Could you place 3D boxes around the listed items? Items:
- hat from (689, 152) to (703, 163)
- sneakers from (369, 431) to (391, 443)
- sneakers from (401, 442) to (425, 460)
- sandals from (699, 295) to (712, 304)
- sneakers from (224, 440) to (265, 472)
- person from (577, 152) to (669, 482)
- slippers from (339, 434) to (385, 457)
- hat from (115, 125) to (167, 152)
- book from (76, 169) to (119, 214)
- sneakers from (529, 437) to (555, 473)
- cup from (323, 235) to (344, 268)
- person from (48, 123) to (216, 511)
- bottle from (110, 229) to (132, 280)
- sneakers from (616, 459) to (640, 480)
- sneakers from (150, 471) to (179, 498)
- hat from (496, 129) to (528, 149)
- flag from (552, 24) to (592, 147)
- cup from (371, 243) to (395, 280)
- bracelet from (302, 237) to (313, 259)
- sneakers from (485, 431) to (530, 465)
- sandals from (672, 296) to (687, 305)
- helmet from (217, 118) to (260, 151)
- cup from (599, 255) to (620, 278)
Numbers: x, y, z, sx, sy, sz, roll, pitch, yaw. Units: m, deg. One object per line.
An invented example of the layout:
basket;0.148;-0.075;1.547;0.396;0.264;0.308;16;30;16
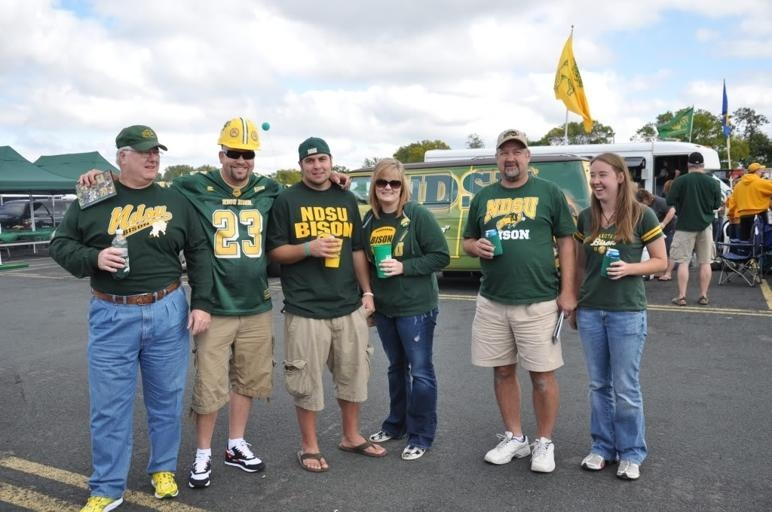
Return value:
hat;5.232;-1.666;9.792;0.167;0.113;0.223;4;32;13
sneakers;-0.064;1.649;5.341;0.198;0.076;0.087;-1;3;-3
sneakers;0.232;1.696;5.052;0.222;0.086;0.137;-1;12;4
sandals;5.279;0.728;9.631;0.114;0.101;0.259;0;-2;24
sneakers;-1.228;1.695;4.925;0.466;0.205;0.168;6;4;29
person;1.889;0.463;4.784;0.679;2.555;0.796;3;14;18
slippers;-0.202;1.671;5.155;0.309;0.084;0.152;1;4;17
hat;-1.900;-0.897;4.442;0.326;0.191;0.283;-7;13;-22
book;-2.246;-0.504;4.473;0.315;0.282;0.074;2;-14;6
sneakers;1.327;1.631;4.912;0.204;0.253;0.320;2;13;14
cup;-0.523;-0.041;4.999;0.233;0.303;0.218;4;13;-1
person;-1.939;0.440;4.556;1.151;2.853;0.799;-7;14;-23
bottle;-2.031;-0.014;4.404;0.129;0.387;0.203;-8;14;-23
sneakers;1.954;1.724;4.690;0.112;0.092;0.204;-2;-11;20
sneakers;-1.769;1.803;4.622;0.131;0.111;0.276;3;-2;-34
hat;1.044;-0.971;4.825;0.244;0.147;0.192;1;13;10
flag;5.020;-4.656;15.521;0.911;2.545;1.569;0;13;9
cup;-0.073;0.052;5.024;0.283;0.332;0.302;-4;-2;0
bracelet;-0.677;-0.080;4.892;0.089;0.110;0.117;-2;-1;-9
sneakers;1.041;1.647;5.108;0.523;0.242;0.183;-4;0;-29
sandals;4.852;0.731;9.626;0.119;0.099;0.248;0;8;0
helmet;-1.204;-0.998;4.779;0.294;0.260;0.313;-10;15;-34
cup;1.799;0.085;4.697;0.140;0.204;0.100;9;17;38
